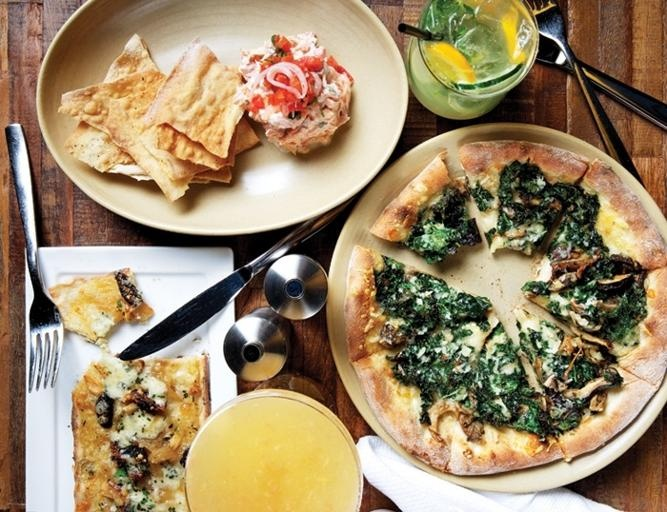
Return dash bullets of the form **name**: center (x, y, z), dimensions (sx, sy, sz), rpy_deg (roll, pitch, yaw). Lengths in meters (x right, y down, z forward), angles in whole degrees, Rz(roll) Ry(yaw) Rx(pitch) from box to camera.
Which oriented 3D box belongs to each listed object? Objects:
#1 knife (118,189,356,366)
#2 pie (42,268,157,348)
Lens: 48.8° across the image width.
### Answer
- **knife**: center (-0.472, 0.114, 3.569), dimensions (1.154, 0.078, 0.158), rpy_deg (-42, 80, -6)
- **pie**: center (-1.156, 0.240, 3.618), dimensions (0.418, 0.129, 0.420), rpy_deg (-30, 85, -5)
